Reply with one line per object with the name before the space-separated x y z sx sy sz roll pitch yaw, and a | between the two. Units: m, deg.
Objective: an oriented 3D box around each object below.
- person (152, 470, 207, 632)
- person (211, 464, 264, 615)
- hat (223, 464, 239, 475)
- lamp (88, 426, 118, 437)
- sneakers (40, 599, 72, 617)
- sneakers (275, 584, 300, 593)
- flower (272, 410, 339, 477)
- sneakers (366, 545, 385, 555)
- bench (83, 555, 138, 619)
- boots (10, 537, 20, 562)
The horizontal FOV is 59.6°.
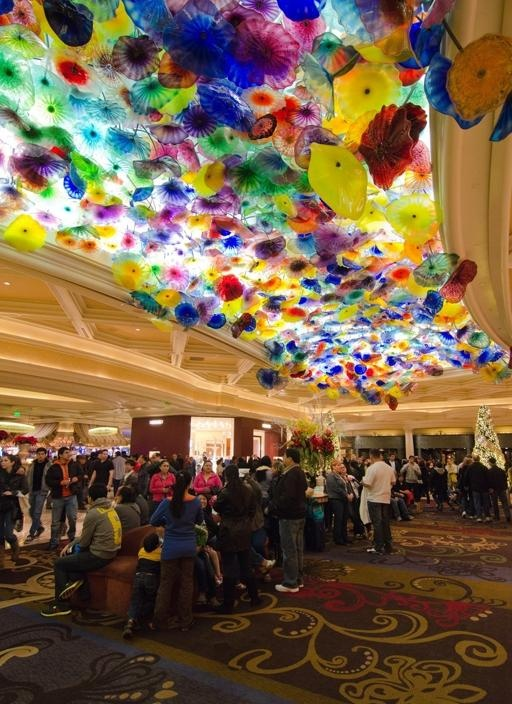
person | -0.713 1.769 4.068 0.367 1.303 0.438 -9 -18 26
person | -0.238 1.843 4.496 0.383 1.219 0.453 -17 -22 42
hat | -0.258 1.239 4.699 0.132 0.127 0.134 7 15 37
lamp | -10.403 5.500 30.829 0.695 0.740 2.692 -4 -14 13
sneakers | -1.874 2.454 4.287 0.272 0.102 0.145 12 -26 -10
sneakers | 0.352 2.604 4.936 0.253 0.095 0.085 2 -35 18
flower | 0.983 1.541 8.003 1.048 1.042 1.046 14 -17 0
sneakers | 1.820 3.037 6.843 0.245 0.092 0.099 -6 -17 41
bench | -1.338 2.317 4.506 0.546 0.323 0.536 -4 -10 33
boots | -3.361 2.791 6.288 0.084 0.320 0.185 4 -16 -15
